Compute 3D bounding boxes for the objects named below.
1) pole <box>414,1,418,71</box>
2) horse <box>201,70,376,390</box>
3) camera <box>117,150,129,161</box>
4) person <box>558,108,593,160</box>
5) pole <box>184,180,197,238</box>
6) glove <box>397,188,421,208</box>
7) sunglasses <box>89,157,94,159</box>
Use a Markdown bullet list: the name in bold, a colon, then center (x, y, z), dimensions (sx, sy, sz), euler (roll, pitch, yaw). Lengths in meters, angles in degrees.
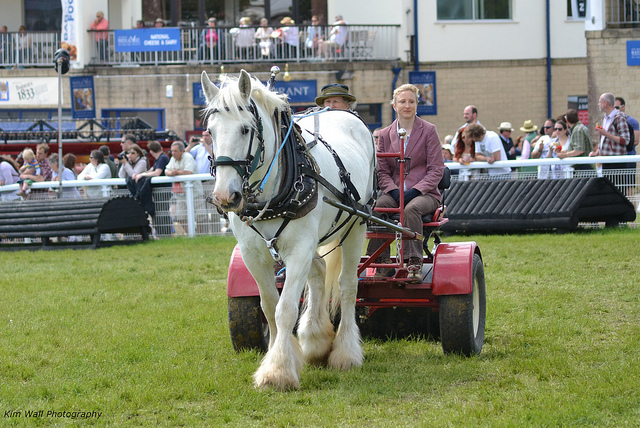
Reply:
- **pole**: center (3.301, -6.109, 49.692), dimensions (0.164, 2.401, 0.164), euler (0, -3, -6)
- **horse**: center (-0.395, 0.465, 32.439), dimensions (2.162, 6.807, 7.805), euler (-2, 2, 23)
- **camera**: center (-5.448, -1.589, 40.261), dimensions (0.111, 0.280, 0.266), euler (1, 25, -22)
- **person**: center (6.743, -1.899, 38.813), dimensions (0.529, 1.195, 2.034), euler (-9, -7, 24)
- **pole**: center (-3.468, -0.118, 39.142), dimensions (0.305, 1.534, 0.137), euler (0, -3, -6)
- **glove**: center (1.972, -0.371, 31.978), dimensions (0.423, 0.165, 0.316), euler (-30, -1, -28)
- **sunglasses**: center (-6.237, -1.520, 39.804), dimensions (0.022, 0.059, 0.186), euler (2, -4, -30)
